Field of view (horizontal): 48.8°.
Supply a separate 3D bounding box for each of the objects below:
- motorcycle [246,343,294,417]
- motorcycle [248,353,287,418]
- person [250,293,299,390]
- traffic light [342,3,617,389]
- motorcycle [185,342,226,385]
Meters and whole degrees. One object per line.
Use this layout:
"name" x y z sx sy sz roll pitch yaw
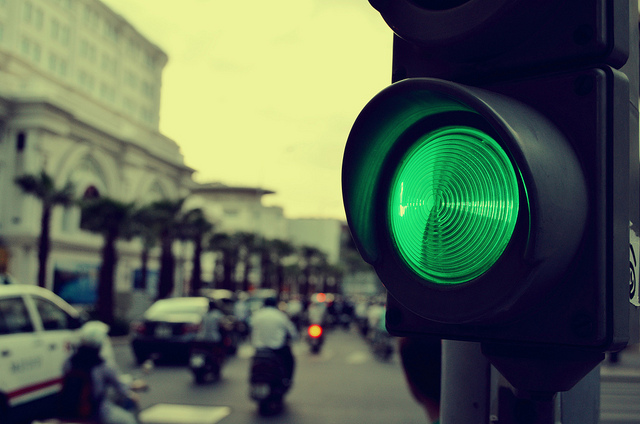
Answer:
"motorcycle" -0.665 2.094 9.507 0.655 0.395 1.304 0 -43 5
"motorcycle" -0.710 2.374 9.627 0.521 0.990 1.530 5 -6 -3
"person" -0.603 1.677 9.062 0.594 1.536 0.544 -1 27 -10
"traffic light" 0.401 -0.104 1.780 0.603 0.868 0.356 0 -7 39
"motorcycle" -2.188 2.854 13.498 0.684 0.704 0.969 6 -6 -10
